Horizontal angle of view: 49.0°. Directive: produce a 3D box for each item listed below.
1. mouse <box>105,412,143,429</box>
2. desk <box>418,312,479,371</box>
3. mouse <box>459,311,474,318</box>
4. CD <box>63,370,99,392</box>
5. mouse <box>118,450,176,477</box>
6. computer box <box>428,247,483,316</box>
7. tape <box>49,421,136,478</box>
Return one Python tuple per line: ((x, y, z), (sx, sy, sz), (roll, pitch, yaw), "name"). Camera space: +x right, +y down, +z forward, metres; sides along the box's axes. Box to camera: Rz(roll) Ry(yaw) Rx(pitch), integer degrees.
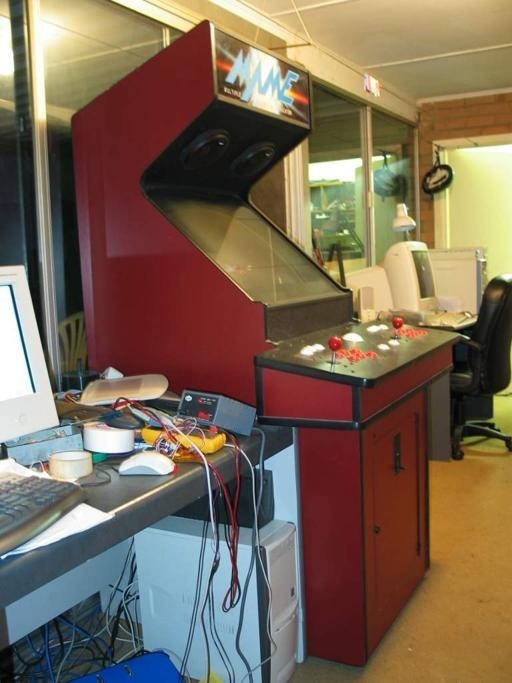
((-0.290, 0.166, 1.245), (0.061, 0.020, 0.039), (8, 4, 27), "mouse")
((1.105, -0.003, 3.500), (0.422, 0.437, 0.484), (7, 9, 22), "desk")
((1.379, -0.182, 3.711), (0.074, 0.022, 0.086), (7, 9, 43), "mouse")
((-0.514, 0.107, 1.640), (0.079, 0.049, 0.082), (1, 4, 21), "CD")
((-0.198, 0.221, 1.017), (0.076, 0.028, 0.047), (1, 0, 5), "mouse")
((1.632, -0.462, 4.629), (0.456, 0.616, 0.397), (-1, 5, 34), "computer box")
((-0.307, 0.197, 1.055), (0.111, 0.078, 0.121), (-1, 6, 10), "tape")
